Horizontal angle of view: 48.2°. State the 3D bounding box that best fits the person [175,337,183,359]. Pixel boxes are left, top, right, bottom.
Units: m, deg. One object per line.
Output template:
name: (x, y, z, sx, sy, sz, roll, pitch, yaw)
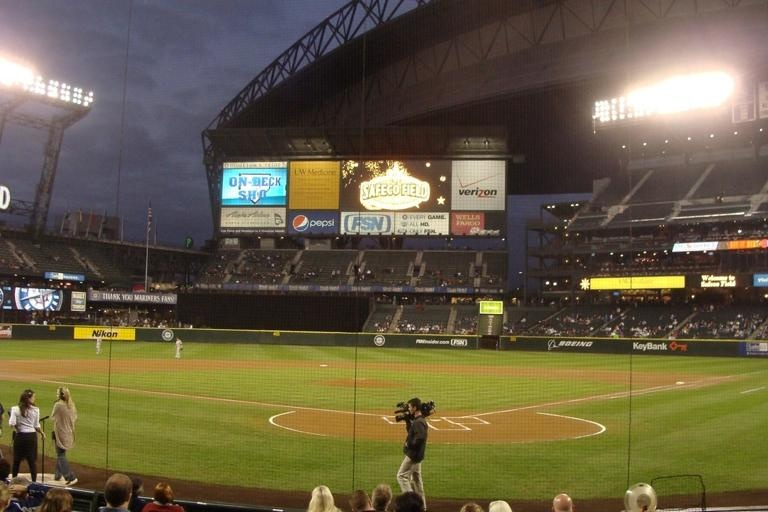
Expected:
person: (-13.440, 6.052, 56.412, 0.427, 1.162, 2.219, 3, -5, -14)
